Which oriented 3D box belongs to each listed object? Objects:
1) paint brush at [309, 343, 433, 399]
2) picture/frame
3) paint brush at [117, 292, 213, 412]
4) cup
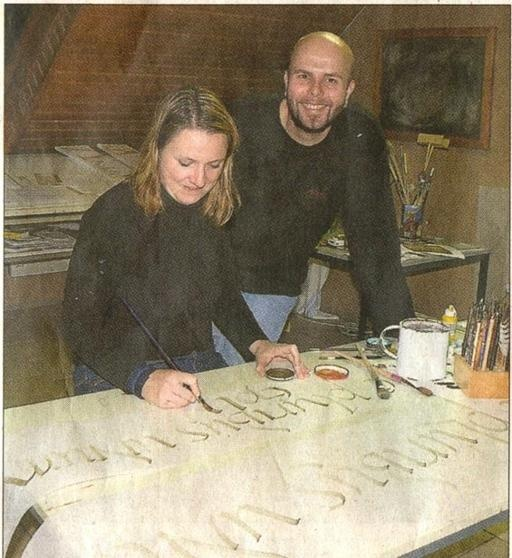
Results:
[{"bbox_3d":[0.235,0.158,1.074,0.077,0.008,0.193,-10,18,-31],"label":"paint brush"},{"bbox_3d":[0.397,-0.431,1.245,0.304,0.253,0.020,2,15,12],"label":"picture/frame"},{"bbox_3d":[-0.196,0.145,1.163,0.031,0.272,0.016,-44,-18,-2],"label":"paint brush"},{"bbox_3d":[0.316,0.136,1.116,0.099,0.101,0.143,-8,13,-35],"label":"cup"}]
